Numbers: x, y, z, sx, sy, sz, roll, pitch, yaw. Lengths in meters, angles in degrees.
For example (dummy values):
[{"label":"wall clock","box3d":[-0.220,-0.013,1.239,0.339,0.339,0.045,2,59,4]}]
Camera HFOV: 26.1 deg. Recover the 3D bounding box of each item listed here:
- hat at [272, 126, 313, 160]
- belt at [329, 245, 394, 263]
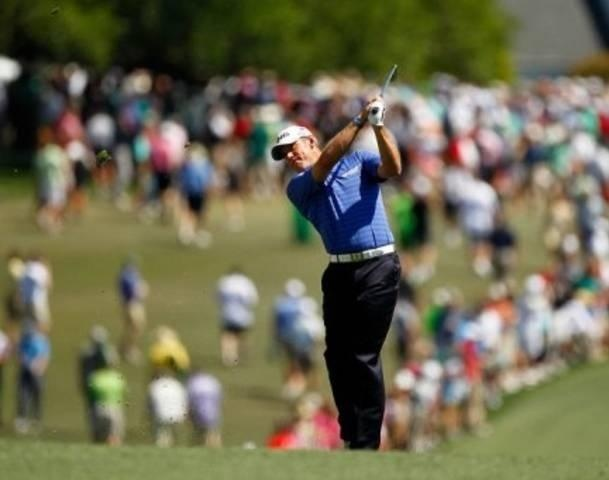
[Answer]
[{"label":"hat","box3d":[-0.087,-0.722,9.148,0.273,0.154,0.189,-27,-3,-41]},{"label":"belt","box3d":[0.399,0.102,8.993,0.446,0.162,0.145,3,15,4]}]
